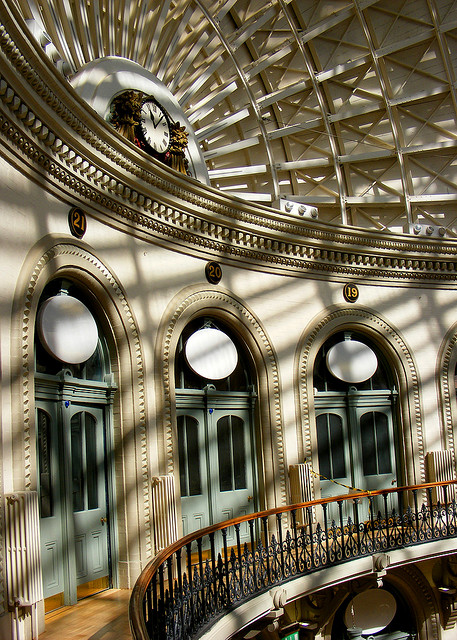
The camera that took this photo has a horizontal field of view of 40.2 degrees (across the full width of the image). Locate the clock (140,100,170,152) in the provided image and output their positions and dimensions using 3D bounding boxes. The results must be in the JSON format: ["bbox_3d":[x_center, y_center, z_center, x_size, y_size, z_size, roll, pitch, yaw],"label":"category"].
[{"bbox_3d":[-1.121,-2.926,9.553,0.063,0.864,0.861,-25,-45,-32],"label":"clock"}]
